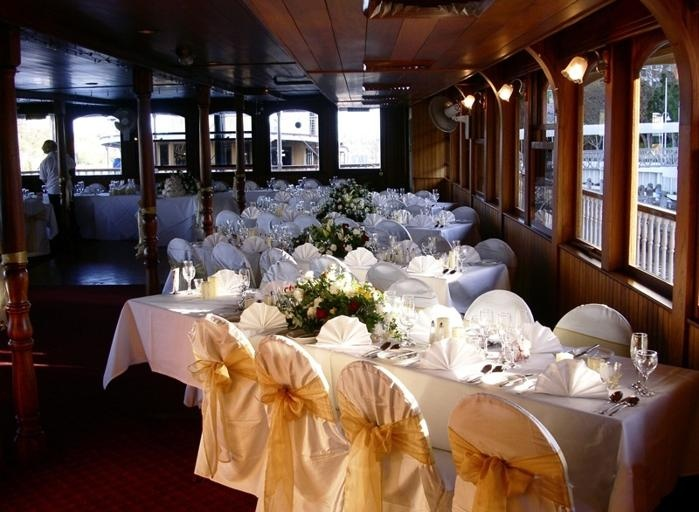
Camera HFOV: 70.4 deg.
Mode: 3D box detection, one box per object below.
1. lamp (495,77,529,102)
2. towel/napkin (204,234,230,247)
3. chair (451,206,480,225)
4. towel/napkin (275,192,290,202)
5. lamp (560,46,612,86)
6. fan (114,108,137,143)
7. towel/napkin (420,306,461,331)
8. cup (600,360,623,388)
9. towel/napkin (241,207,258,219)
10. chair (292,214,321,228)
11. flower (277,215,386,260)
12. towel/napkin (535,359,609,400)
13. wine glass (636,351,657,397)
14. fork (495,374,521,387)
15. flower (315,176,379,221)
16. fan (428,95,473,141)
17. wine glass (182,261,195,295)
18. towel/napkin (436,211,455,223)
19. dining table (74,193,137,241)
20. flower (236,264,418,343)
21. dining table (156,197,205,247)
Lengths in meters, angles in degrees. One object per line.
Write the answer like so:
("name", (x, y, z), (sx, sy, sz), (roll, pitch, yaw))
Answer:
("lamp", (2.613, -2.718, 8.136), (0.369, 0.349, 0.644), (9, 18, 39))
("towel/napkin", (-1.877, -0.222, 6.943), (0.293, 0.110, 0.321), (-6, -4, 17))
("chair", (2.171, -0.755, 9.308), (0.450, 0.287, 0.426), (0, 14, 8))
("towel/napkin", (-1.642, -1.481, 12.283), (0.339, 0.118, 0.341), (-25, 33, -34))
("lamp", (2.430, -1.923, 5.068), (0.395, 0.350, 1.076), (4, 16, 26))
("fan", (-7.199, -4.214, 15.976), (0.642, 1.029, 1.506), (-8, 15, -25))
("towel/napkin", (0.686, 0.452, 3.771), (0.190, 0.079, 0.201), (6, 15, 21))
("cup", (1.439, 0.659, 2.736), (0.104, 0.203, 0.117), (6, 21, 30))
("towel/napkin", (-1.891, -0.825, 9.518), (0.370, 0.172, 0.472), (-9, 16, -26))
("chair", (-0.726, -0.579, 8.137), (0.313, 0.247, 0.384), (-2, 1, -10))
("flower", (-0.113, -0.244, 6.819), (0.719, 0.468, 0.775), (1, 3, 27))
("towel/napkin", (1.222, 0.697, 2.758), (0.375, 0.258, 0.044), (-3, 30, 25))
("wine glass", (1.678, 0.632, 2.822), (0.110, 0.250, 0.295), (6, 15, 31))
("fork", (0.955, 0.727, 2.933), (0.088, 0.025, 0.073), (-7, 7, 36))
("flower", (-0.058, -1.246, 9.856), (1.033, 0.900, 1.110), (7, -11, -28))
("fan", (2.245, -3.048, 10.623), (0.646, 1.008, 0.931), (11, 30, 39))
("wine glass", (-1.625, 0.205, 5.013), (0.113, 0.299, 0.308), (-6, 14, -19))
("towel/napkin", (1.754, -0.709, 9.161), (0.237, 0.132, 0.250), (-5, 12, -27))
("dining table", (-6.385, -1.036, 13.129), (1.221, 0.944, 1.355), (1, 5, 3))
("flower", (-0.124, 0.365, 3.798), (0.805, 0.412, 0.628), (2, -14, 24))
("dining table", (-4.494, -0.989, 13.361), (1.203, 1.112, 1.332), (-1, 7, -1))
